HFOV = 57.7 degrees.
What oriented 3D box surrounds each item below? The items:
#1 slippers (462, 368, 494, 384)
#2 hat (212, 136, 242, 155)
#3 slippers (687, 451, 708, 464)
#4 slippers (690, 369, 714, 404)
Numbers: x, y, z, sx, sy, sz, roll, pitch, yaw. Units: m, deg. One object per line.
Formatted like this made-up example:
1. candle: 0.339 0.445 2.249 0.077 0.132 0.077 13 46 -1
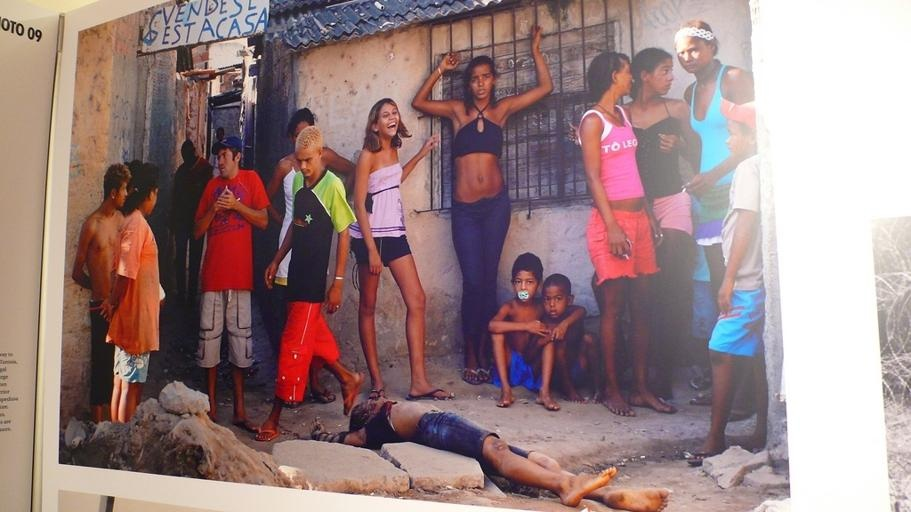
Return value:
1. slippers: 0.181 0.973 6.617 0.219 0.108 0.058 3 8 8
2. hat: -1.959 -0.962 7.183 0.188 0.116 0.138 13 -1 -9
3. slippers: 1.826 1.531 6.241 0.176 0.096 0.025 -5 -2 12
4. slippers: 1.887 0.986 6.311 0.150 0.256 0.122 2 2 40
